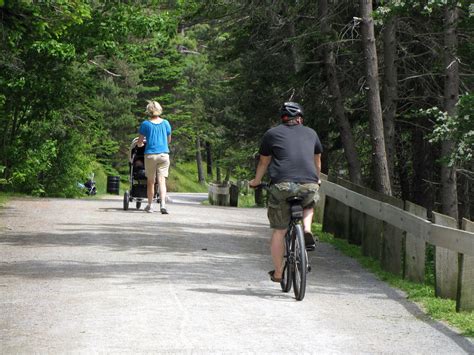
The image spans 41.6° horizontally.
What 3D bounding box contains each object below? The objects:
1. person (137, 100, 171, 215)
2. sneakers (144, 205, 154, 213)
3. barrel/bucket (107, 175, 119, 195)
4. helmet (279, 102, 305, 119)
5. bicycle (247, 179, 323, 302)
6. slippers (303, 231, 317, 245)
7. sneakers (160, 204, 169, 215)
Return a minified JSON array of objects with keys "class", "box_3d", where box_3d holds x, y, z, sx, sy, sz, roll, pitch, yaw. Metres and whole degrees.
[{"class":"person","box_3d":[-2.011,-0.513,15.253,0.751,2.875,1.471,0,0,-6]},{"class":"sneakers","box_3d":[-2.224,0.813,15.879,0.110,0.206,0.290,-2,11,-26]},{"class":"barrel/bucket","box_3d":[-8.306,0.537,41.956,0.750,1.253,1.115,0,0,-14]},{"class":"helmet","box_3d":[0.721,-0.891,8.012,0.264,0.165,0.194,6,31,-9]},{"class":"bicycle","box_3d":[0.571,0.903,8.096,0.670,0.900,1.425,0,6,-2]},{"class":"slippers","box_3d":[0.942,0.759,7.715,0.124,0.167,0.222,0,0,45]},{"class":"sneakers","box_3d":[-1.818,0.815,15.623,0.110,0.146,0.312,-27,-22,-2]}]
